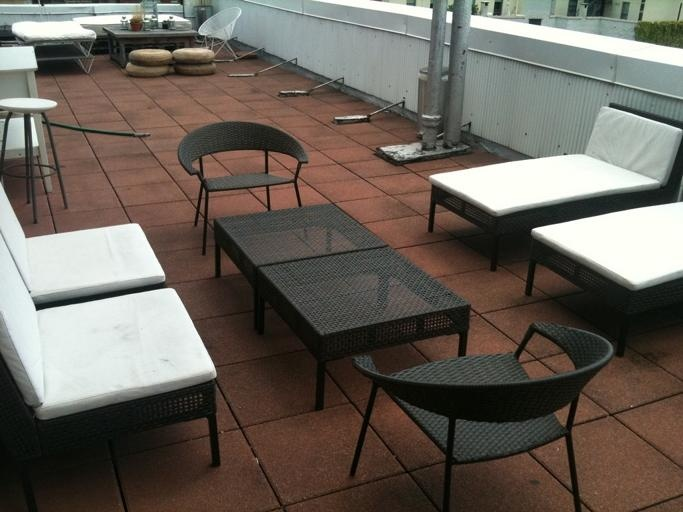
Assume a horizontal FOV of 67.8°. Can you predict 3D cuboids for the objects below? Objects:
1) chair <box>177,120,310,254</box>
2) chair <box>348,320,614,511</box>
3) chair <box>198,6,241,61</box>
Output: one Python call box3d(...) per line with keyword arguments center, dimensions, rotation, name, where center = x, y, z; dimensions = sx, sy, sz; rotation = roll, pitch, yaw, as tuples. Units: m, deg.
box3d(center=(-0.914, -0.677, 4.569), dimensions=(1.126, 0.828, 0.710), rotation=(-13, 34, -29), name="chair")
box3d(center=(0.543, 0.625, 2.182), dimensions=(0.989, 0.834, 0.630), rotation=(1, 32, 0), name="chair")
box3d(center=(-2.926, -5.392, 12.287), dimensions=(0.962, 1.067, 2.325), rotation=(-6, 30, -11), name="chair")
